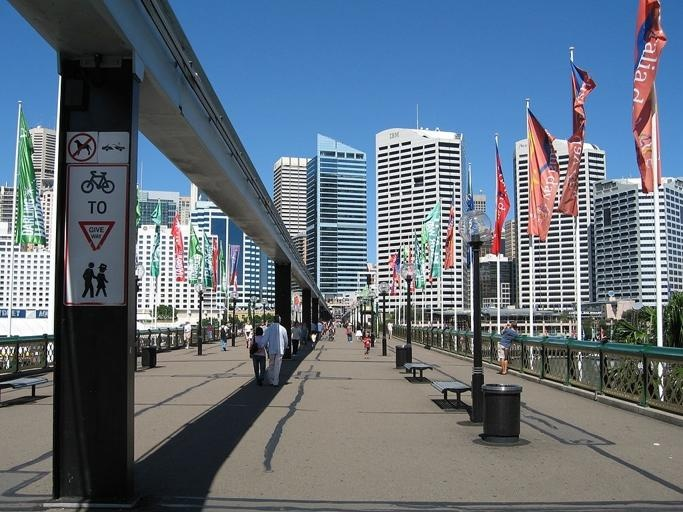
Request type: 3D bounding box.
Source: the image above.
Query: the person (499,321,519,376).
[{"bbox_3d":[5.948,3.290,22.738,0.653,1.783,1.639,-1,-4,14],"label":"person"}]

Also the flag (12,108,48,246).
[{"bbox_3d":[-13.312,-3.677,27.162,1.077,6.361,3.296,2,-4,-27],"label":"flag"}]

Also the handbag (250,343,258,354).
[{"bbox_3d":[-2.732,2.939,20.028,0.210,0.341,0.081,12,1,31],"label":"handbag"}]

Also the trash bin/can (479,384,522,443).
[{"bbox_3d":[2.938,2.962,12.278,0.844,1.247,0.917,1,-2,4],"label":"trash bin/can"}]

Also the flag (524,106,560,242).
[{"bbox_3d":[7.109,-2.938,22.639,0.621,4.769,1.414,2,-4,-27],"label":"flag"}]

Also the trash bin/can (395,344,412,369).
[{"bbox_3d":[2.462,4.040,25.233,0.708,1.115,0.732,1,-3,19],"label":"trash bin/can"}]

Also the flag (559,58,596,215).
[{"bbox_3d":[7.618,-3.999,20.699,1.015,5.215,3.324,-1,-4,18],"label":"flag"}]

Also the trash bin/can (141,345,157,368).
[{"bbox_3d":[-7.755,4.099,25.682,0.551,0.859,1.023,1,-4,-20],"label":"trash bin/can"}]
